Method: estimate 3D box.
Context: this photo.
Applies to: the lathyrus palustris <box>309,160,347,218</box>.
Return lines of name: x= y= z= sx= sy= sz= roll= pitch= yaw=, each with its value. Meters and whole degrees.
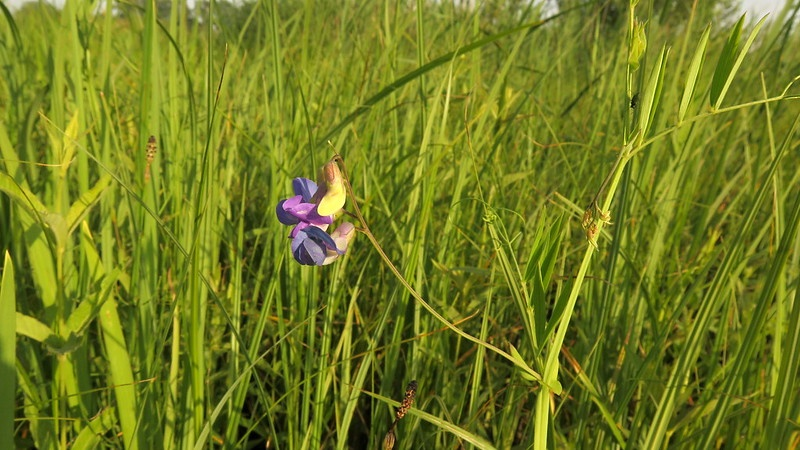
lathyrus palustris: x=-0.293 y=-0.170 z=3.571 sx=0.134 sy=0.282 sz=0.180 roll=7 pitch=15 yaw=-6

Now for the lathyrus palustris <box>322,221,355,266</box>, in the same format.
lathyrus palustris: x=-0.289 y=0.044 z=3.635 sx=0.132 sy=0.079 sz=0.165 roll=2 pitch=30 yaw=12
